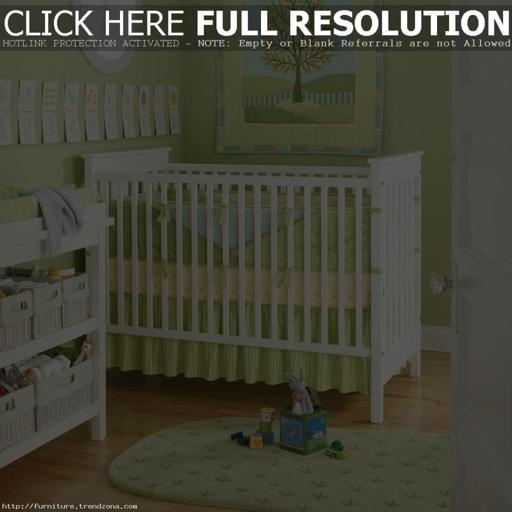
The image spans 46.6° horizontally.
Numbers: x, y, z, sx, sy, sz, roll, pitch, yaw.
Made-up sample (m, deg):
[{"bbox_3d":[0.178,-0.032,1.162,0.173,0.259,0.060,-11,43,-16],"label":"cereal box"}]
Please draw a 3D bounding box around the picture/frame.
[{"bbox_3d":[0.312,-1.170,3.700,0.708,0.945,0.016,2,6,12],"label":"picture/frame"}]

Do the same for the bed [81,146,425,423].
[{"bbox_3d":[0.137,0.265,3.220,1.593,1.544,1.136,1,3,24],"label":"bed"}]
